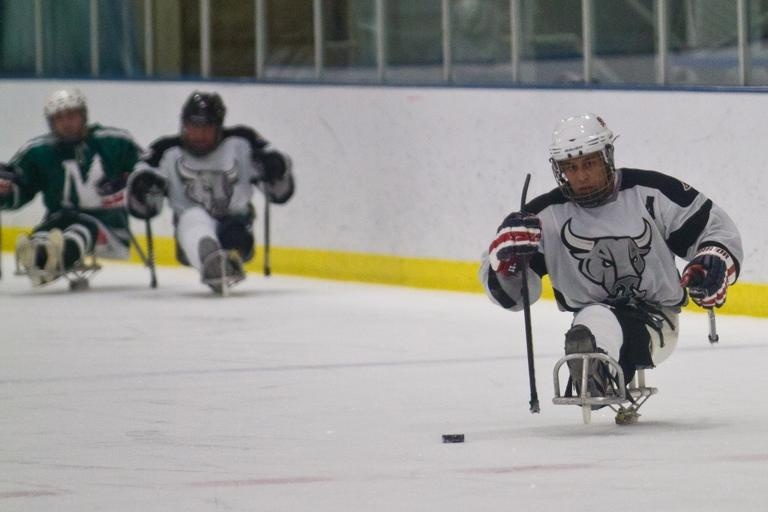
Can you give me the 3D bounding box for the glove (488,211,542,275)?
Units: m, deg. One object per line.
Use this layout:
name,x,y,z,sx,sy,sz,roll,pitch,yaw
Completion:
glove,0.644,-0.069,8.024,0.244,0.313,0.140,-5,-37,48

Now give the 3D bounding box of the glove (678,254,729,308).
glove,1.600,0.126,7.942,0.216,0.281,0.144,-4,6,-36

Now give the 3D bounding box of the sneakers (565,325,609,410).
sneakers,1.007,0.535,7.828,0.156,0.419,0.191,-7,-12,18
